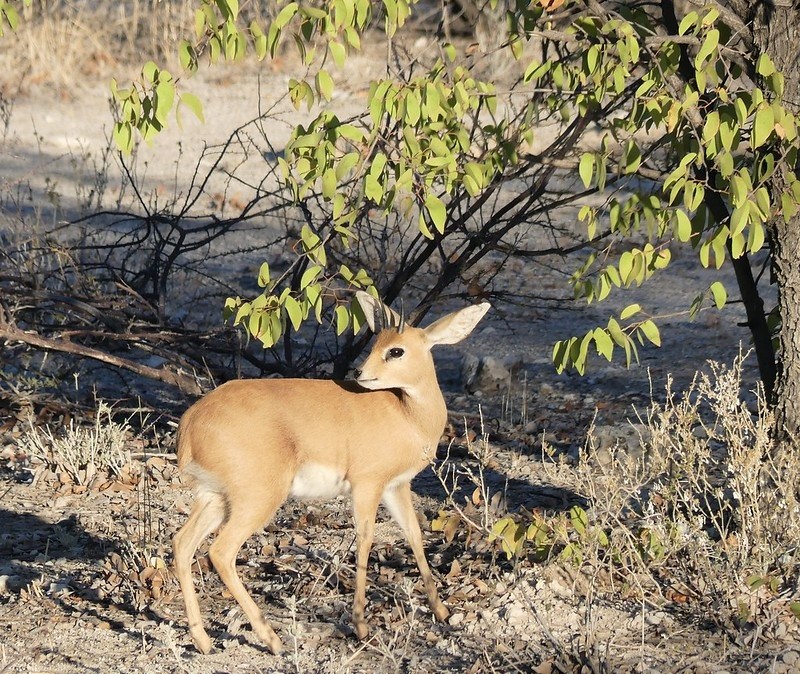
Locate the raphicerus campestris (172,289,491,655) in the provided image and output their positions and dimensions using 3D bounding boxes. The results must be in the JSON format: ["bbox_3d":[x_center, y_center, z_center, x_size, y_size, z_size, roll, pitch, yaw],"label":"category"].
[{"bbox_3d":[-0.406,0.856,6.977,1.972,2.048,0.777,1,-7,-9],"label":"raphicerus campestris"}]
